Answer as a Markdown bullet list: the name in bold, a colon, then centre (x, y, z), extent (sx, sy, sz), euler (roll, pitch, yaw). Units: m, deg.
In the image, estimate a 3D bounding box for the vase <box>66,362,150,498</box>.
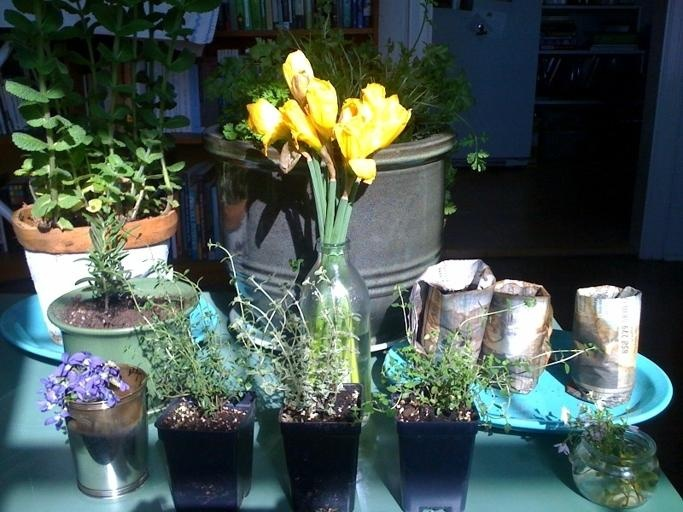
- **vase**: centre (-0.372, 0.293, 0.876), extent (0.118, 0.134, 0.117), euler (-6, -1, 34)
